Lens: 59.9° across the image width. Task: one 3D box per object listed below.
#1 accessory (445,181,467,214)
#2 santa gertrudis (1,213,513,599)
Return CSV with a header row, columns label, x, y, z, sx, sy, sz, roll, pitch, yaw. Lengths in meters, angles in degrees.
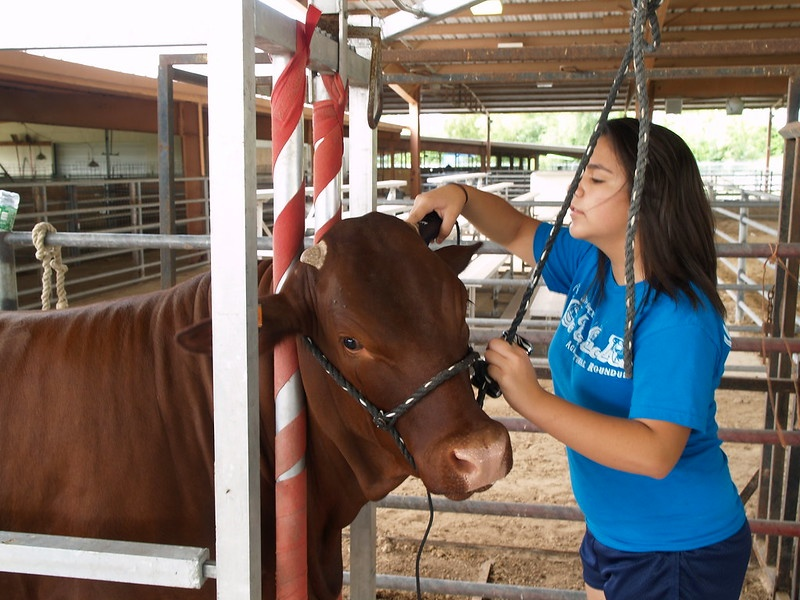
label,x,y,z,sx,sy,sz,roll,pitch,yaw
accessory,0.199,-0.366,2.461,0.020,0.099,0.084,-12,-5,-3
santa gertrudis,-0.441,0.283,2.117,1.614,1.194,0.822,-4,1,34
